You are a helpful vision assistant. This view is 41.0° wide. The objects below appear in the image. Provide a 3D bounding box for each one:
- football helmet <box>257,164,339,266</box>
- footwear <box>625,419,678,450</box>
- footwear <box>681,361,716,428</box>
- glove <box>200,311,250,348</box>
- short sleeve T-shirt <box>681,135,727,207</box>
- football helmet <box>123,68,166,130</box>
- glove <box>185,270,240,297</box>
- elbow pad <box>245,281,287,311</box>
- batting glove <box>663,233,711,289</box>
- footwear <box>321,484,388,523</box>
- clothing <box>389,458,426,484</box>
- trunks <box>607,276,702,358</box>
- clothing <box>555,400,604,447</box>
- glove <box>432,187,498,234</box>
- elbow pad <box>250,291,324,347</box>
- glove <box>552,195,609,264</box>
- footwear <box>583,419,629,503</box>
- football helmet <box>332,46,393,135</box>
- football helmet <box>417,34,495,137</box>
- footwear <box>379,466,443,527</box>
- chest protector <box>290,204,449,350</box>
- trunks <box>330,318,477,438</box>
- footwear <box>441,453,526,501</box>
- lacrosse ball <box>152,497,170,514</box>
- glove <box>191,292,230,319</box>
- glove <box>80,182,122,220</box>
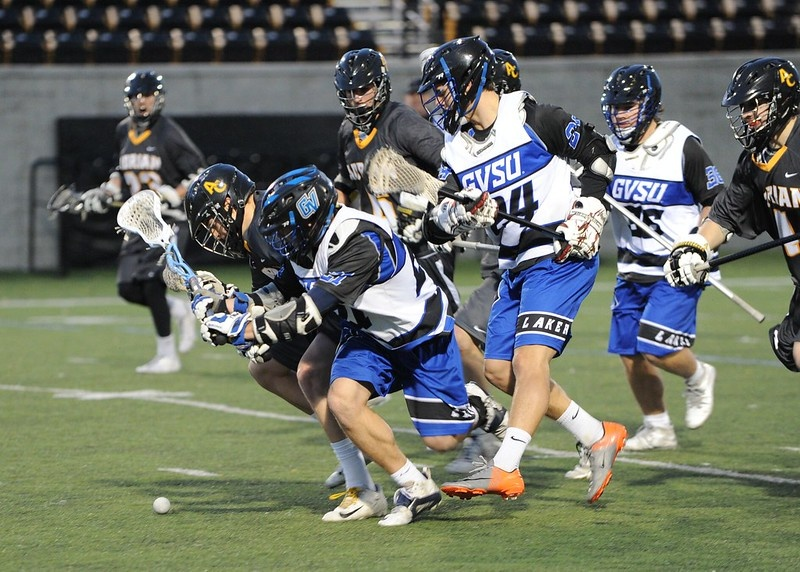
[{"bbox_3d":[-0.473,-0.329,5.427,0.397,0.373,0.328,-26,6,-4],"label":"football helmet"},{"bbox_3d":[1.599,0.961,6.802,0.415,0.168,0.139,-1,-2,9],"label":"footwear"},{"bbox_3d":[1.916,0.701,6.899,0.208,0.465,0.155,24,-31,-17],"label":"footwear"},{"bbox_3d":[-0.851,0.202,5.239,0.183,0.084,0.177,-6,8,-14],"label":"glove"},{"bbox_3d":[1.908,-0.723,6.733,0.278,0.408,0.150,-1,-1,-7],"label":"short sleeve T-shirt"},{"bbox_3d":[-2.130,-1.593,8.921,0.330,0.435,0.454,-2,14,8],"label":"football helmet"},{"bbox_3d":[-1.002,-0.003,5.603,0.200,0.080,0.141,8,6,12],"label":"glove"},{"bbox_3d":[-0.714,0.057,5.752,0.162,0.075,0.135,21,27,-16],"label":"elbow pad"},{"bbox_3d":[1.654,-0.116,6.000,0.226,0.300,0.148,31,6,41],"label":"batting glove"},{"bbox_3d":[-0.234,1.145,5.565,0.311,0.134,0.147,1,-6,-23],"label":"footwear"},{"bbox_3d":[0.039,0.974,5.551,0.148,0.098,0.148,42,-10,-34],"label":"clothing"},{"bbox_3d":[1.670,0.177,6.966,0.400,0.600,0.673,15,-9,-33],"label":"trunks"},{"bbox_3d":[0.986,0.763,5.915,0.289,0.190,0.131,36,-13,-6],"label":"clothing"},{"bbox_3d":[0.353,-0.402,5.713,0.285,0.132,0.229,3,28,32],"label":"glove"},{"bbox_3d":[-0.553,0.177,5.191,0.275,0.128,0.267,-16,22,-3],"label":"elbow pad"},{"bbox_3d":[0.976,-0.292,5.774,0.240,0.376,0.146,35,-32,3],"label":"glove"},{"bbox_3d":[1.116,0.954,5.795,0.164,0.397,0.405,3,9,21],"label":"footwear"},{"bbox_3d":[-0.227,-1.193,6.525,0.325,0.511,0.239,-1,8,-3],"label":"football helmet"},{"bbox_3d":[0.359,-1.094,5.929,0.514,0.464,0.432,-8,-2,30],"label":"football helmet"},{"bbox_3d":[0.061,1.086,5.614,0.460,0.212,0.157,-24,9,-37],"label":"footwear"},{"bbox_3d":[-0.179,-0.026,5.456,0.490,0.625,0.549,-36,23,-11],"label":"chest protector"},{"bbox_3d":[0.013,0.475,5.640,0.774,0.650,0.295,0,30,17],"label":"trunks"},{"bbox_3d":[0.438,0.983,5.458,0.464,0.216,0.165,3,-33,-3],"label":"footwear"},{"bbox_3d":[-1.251,1.148,5.602,0.081,0.074,0.078,-6,-8,-1],"label":"lacrosse ball"},{"bbox_3d":[-0.953,0.102,5.380,0.162,0.117,0.077,-5,-15,13],"label":"glove"},{"bbox_3d":[-2.550,-0.720,9.111,0.329,0.306,0.399,-2,9,-15],"label":"glove"}]
